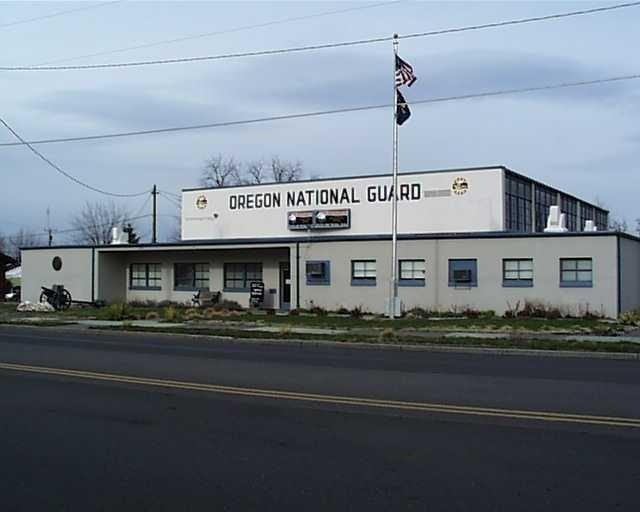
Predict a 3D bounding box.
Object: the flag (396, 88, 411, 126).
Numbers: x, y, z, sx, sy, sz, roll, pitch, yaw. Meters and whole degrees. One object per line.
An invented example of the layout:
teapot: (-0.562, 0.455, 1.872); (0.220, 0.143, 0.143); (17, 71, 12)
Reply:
flag: (3.134, -5.645, 30.215); (0.539, 1.312, 1.714); (1, 4, 5)

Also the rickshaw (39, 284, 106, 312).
rickshaw: (-13.575, 2.160, 40.993); (1.835, 1.568, 2.526); (1, 2, 21)

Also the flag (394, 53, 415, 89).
flag: (3.202, -7.001, 29.978); (0.710, 1.176, 0.671); (1, 4, 5)
